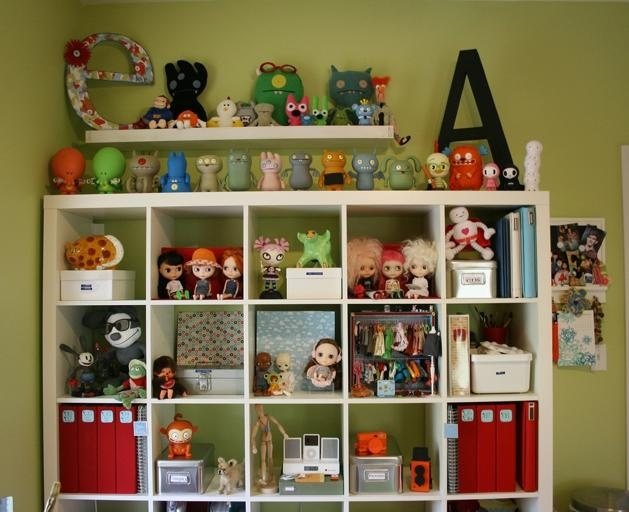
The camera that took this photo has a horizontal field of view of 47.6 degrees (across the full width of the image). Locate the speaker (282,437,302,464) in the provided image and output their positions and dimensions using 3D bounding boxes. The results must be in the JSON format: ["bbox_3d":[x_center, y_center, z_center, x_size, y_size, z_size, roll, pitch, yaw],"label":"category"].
[{"bbox_3d":[-0.103,0.901,3.361,0.085,0.108,0.061,0,-1,-1],"label":"speaker"}]

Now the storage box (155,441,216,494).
[{"bbox_3d":[-0.615,1.011,3.444,0.238,0.183,0.280,0,-1,3],"label":"storage box"}]

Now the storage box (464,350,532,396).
[{"bbox_3d":[0.876,0.540,3.329,0.198,0.137,0.211,-1,-5,2],"label":"storage box"}]

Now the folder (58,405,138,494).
[{"bbox_3d":[-1.037,0.838,3.532,0.331,0.503,0.495,0,-5,-7],"label":"folder"}]

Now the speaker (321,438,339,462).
[{"bbox_3d":[0.073,0.897,3.355,0.083,0.103,0.082,0,-1,-2],"label":"speaker"}]

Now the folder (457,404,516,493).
[{"bbox_3d":[0.796,0.898,3.559,0.324,0.535,0.366,0,-1,2],"label":"folder"}]

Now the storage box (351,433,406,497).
[{"bbox_3d":[0.298,0.944,3.515,0.253,0.200,0.452,-1,18,1],"label":"storage box"}]

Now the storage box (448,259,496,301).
[{"bbox_3d":[0.787,0.091,3.461,0.251,0.194,0.268,-3,10,11],"label":"storage box"}]
